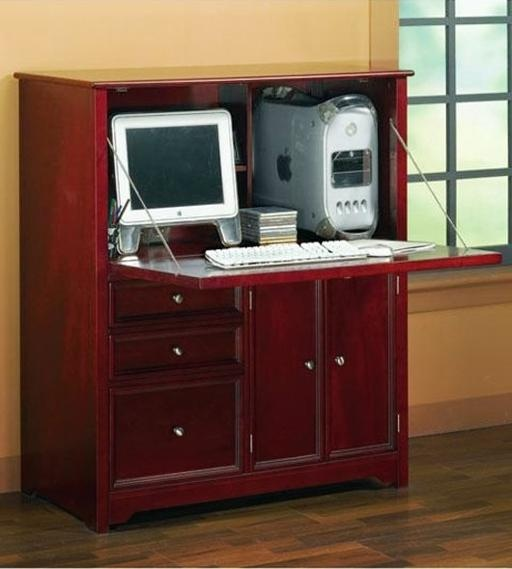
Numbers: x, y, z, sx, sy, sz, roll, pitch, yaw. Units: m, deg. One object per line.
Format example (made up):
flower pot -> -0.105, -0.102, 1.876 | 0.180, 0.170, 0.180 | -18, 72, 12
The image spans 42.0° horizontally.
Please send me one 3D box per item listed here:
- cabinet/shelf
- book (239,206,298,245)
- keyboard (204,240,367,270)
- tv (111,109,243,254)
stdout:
cabinet/shelf -> 0.013, 0.145, 2.783 | 1.601, 1.960, 1.354 | -5, 7, -35
book -> 0.053, -0.202, 2.138 | 0.130, 0.086, 0.132 | -3, 9, -27
keyboard -> 0.079, -0.082, 1.805 | 0.432, 0.086, 0.252 | -1, 0, -21
tv -> -0.242, -0.311, 1.976 | 0.418, 0.435, 0.053 | -8, 7, -35
